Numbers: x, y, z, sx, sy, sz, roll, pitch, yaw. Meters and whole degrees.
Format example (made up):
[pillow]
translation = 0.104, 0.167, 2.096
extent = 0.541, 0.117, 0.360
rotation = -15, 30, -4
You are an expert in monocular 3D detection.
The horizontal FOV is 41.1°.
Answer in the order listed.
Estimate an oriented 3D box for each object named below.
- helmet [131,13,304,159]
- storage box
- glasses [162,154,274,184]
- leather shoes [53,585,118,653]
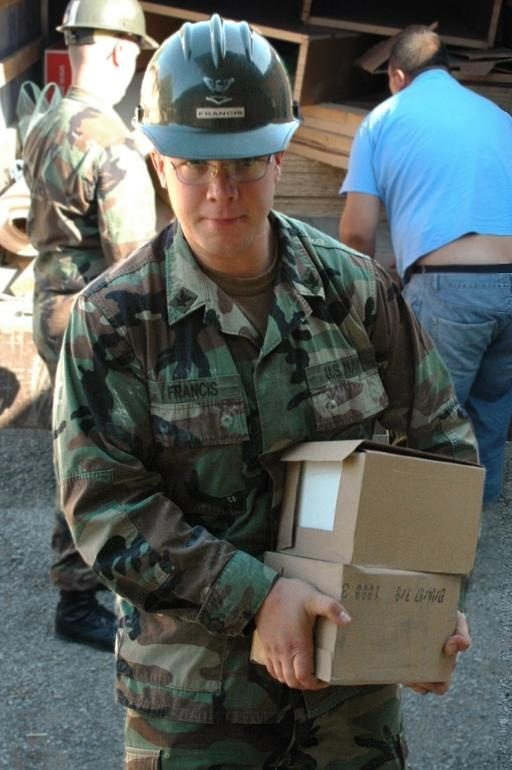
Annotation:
[helmet]
translation = -0.067, -0.517, 1.129
extent = 0.275, 0.184, 0.338
rotation = 4, 35, 5
[storage box]
translation = 0.174, 0.212, 1.194
extent = 0.396, 0.458, 0.363
rotation = 0, 7, -28
[glasses]
translation = -0.052, -0.331, 1.053
extent = 0.150, 0.039, 0.054
rotation = -3, 46, -6
[leather shoes]
translation = -0.636, 0.855, 2.521
extent = 0.207, 0.188, 0.092
rotation = -14, -3, 30
